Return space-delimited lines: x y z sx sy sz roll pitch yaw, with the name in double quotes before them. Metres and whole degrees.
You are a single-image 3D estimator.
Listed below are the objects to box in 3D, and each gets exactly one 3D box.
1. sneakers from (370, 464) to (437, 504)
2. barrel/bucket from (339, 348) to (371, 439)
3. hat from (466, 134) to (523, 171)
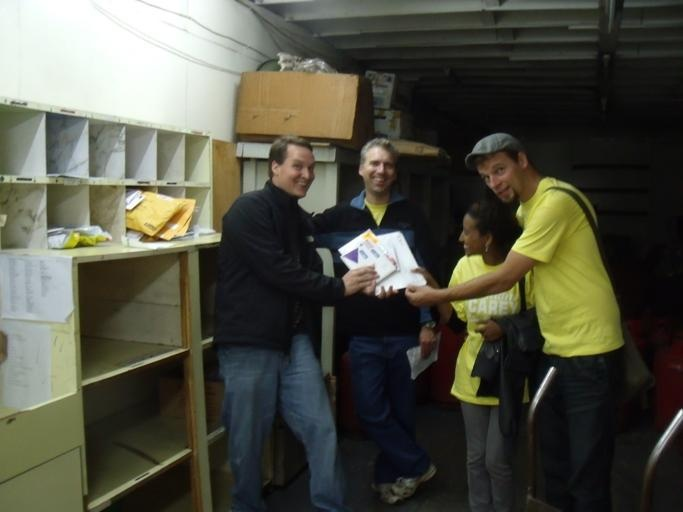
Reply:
"sneakers" 0.429 1.435 3.691 0.362 0.168 0.205 -17 13 -31
"barrel/bucket" 0.058 1.085 4.654 0.167 0.655 0.146 -10 7 -39
"hat" 0.758 -0.529 2.800 0.234 0.130 0.184 6 4 3
